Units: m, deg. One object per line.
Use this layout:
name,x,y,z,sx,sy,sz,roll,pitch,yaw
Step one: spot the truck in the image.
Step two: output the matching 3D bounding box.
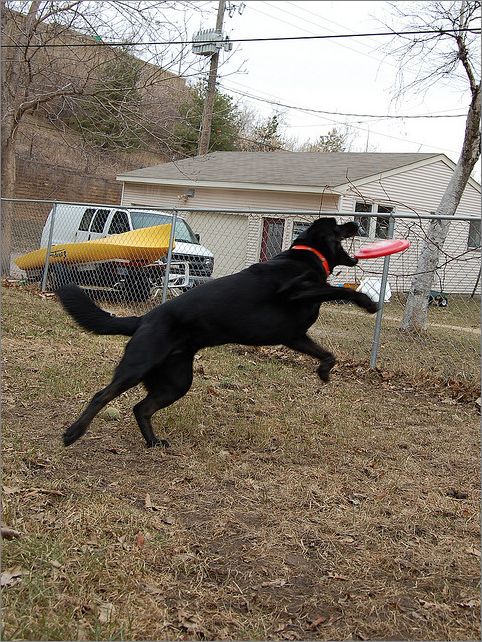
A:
truck,-1.988,-1.185,10.571,3.284,1.204,1.766,4,7,36
